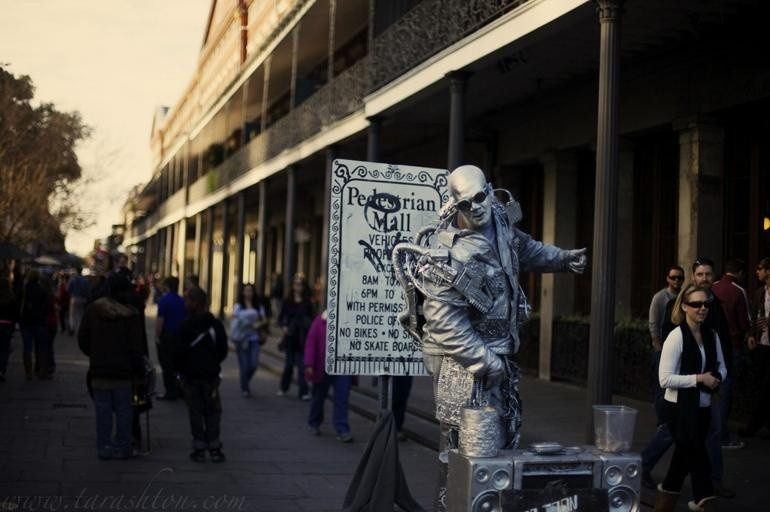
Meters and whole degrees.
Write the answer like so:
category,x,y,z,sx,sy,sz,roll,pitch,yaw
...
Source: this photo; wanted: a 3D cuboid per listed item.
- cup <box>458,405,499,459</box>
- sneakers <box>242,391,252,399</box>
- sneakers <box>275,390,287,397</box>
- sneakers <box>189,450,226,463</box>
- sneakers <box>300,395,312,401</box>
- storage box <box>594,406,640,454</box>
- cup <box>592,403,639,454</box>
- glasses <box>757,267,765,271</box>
category,x,y,z,sx,sy,sz,roll,pitch,yaw
cup,0.935,1.752,9.042,0.401,0.474,0.432,1,-3,0
sneakers,-2.636,2.605,17.122,0.076,0.098,0.215,2,-14,-24
sneakers,-1.996,2.620,17.372,0.130,0.099,0.132,1,-5,0
sneakers,-2.557,2.874,13.085,0.534,0.225,0.241,2,2,0
sneakers,-1.487,2.640,16.998,0.214,0.153,0.131,-1,2,3
storage box,2.337,1.758,9.316,0.421,0.564,0.430,-5,-9,43
cup,2.450,1.768,9.376,0.422,0.561,0.429,1,-7,0
glasses,6.014,0.192,14.383,0.071,0.033,0.101,4,-5,-23
